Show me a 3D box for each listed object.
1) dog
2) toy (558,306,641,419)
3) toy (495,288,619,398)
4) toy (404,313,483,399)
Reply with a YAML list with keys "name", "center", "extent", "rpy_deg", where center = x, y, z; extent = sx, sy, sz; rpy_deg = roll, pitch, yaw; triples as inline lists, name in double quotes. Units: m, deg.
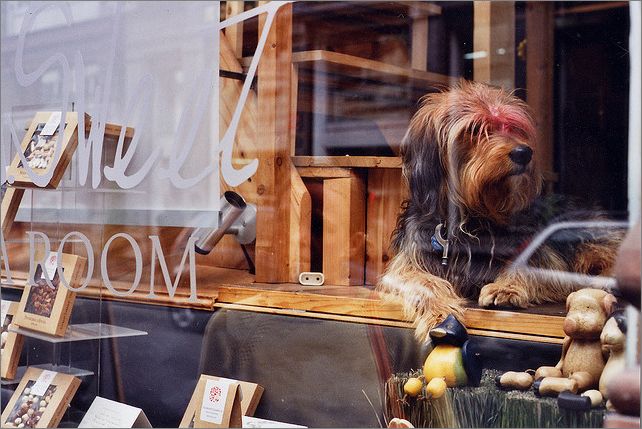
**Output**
- name: "dog"
  center: [0.674, -0.076, 2.419]
  extent: [1.007, 0.775, 0.627]
  rpy_deg: [-7, 9, -26]
- name: "toy"
  center: [0.805, 0.433, 1.989]
  extent: [0.194, 0.317, 0.051]
  rpy_deg: [-1, -5, 44]
- name: "toy"
  center: [0.744, 0.386, 2.055]
  extent: [0.336, 0.367, 0.321]
  rpy_deg: [13, -11, -36]
- name: "toy"
  center: [0.395, 0.458, 2.193]
  extent: [0.259, 0.269, 0.201]
  rpy_deg: [-1, -3, -37]
